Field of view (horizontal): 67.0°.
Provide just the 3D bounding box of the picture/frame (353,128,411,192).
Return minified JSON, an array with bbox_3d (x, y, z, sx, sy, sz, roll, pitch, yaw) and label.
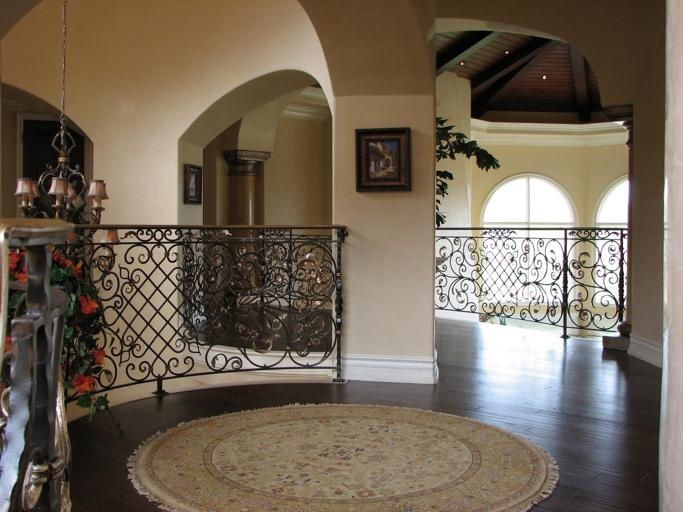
[{"bbox_3d":[0.372,-0.833,4.446,0.477,0.615,0.062,0,2,2],"label":"picture/frame"}]
